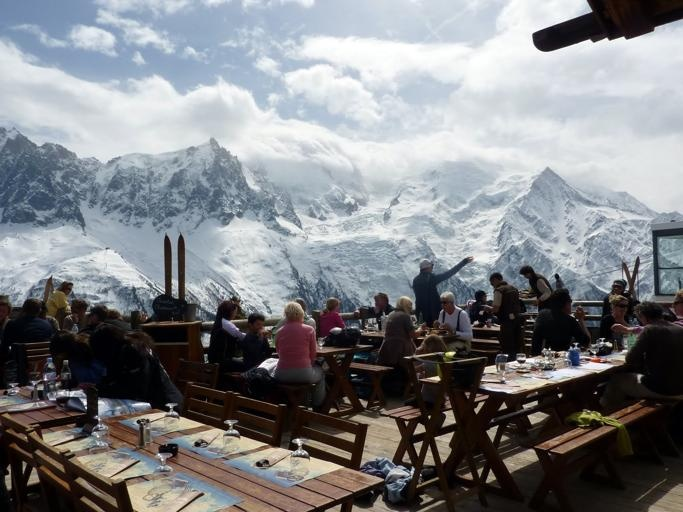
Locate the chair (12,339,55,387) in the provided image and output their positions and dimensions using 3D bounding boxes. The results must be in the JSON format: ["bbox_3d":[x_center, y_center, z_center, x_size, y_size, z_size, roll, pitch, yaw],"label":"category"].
[{"bbox_3d":[-4.201,1.404,6.317,0.332,0.449,0.324,-4,-1,29],"label":"chair"}]

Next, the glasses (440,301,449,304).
[{"bbox_3d":[1.694,0.738,7.802,0.065,0.043,0.230,-3,-1,-4],"label":"glasses"}]

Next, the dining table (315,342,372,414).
[{"bbox_3d":[-0.036,1.985,7.452,0.821,0.886,1.404,2,-18,-4],"label":"dining table"}]

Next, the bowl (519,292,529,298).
[{"bbox_3d":[3.791,0.794,9.842,0.171,0.055,0.171,-9,2,0],"label":"bowl"}]

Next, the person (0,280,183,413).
[{"bbox_3d":[-3.282,1.089,5.705,3.380,1.144,1.037,-4,-2,28],"label":"person"}]

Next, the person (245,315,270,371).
[{"bbox_3d":[-1.223,1.202,6.853,0.403,0.790,0.334,-3,-2,-10],"label":"person"}]

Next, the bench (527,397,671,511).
[{"bbox_3d":[2.443,1.815,4.501,2.425,0.825,0.498,-2,-2,-41],"label":"bench"}]

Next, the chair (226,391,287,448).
[{"bbox_3d":[-0.704,1.252,3.699,0.300,0.480,0.321,-6,-34,33],"label":"chair"}]

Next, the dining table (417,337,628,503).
[{"bbox_3d":[1.628,1.964,4.792,0.872,0.795,1.676,4,-24,43],"label":"dining table"}]

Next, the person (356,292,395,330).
[{"bbox_3d":[0.799,1.126,9.986,0.645,0.682,0.772,11,1,14],"label":"person"}]

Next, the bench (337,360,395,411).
[{"bbox_3d":[0.321,2.072,7.607,0.566,0.513,1.075,8,-15,-24],"label":"bench"}]

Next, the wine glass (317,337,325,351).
[{"bbox_3d":[-0.310,1.367,7.444,0.117,0.166,0.114,-2,3,-43],"label":"wine glass"}]

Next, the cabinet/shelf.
[{"bbox_3d":[-2.784,1.512,7.860,0.835,0.776,0.626,0,-3,5],"label":"cabinet/shelf"}]

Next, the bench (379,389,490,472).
[{"bbox_3d":[1.102,1.876,4.746,1.092,0.444,0.328,29,-40,-15],"label":"bench"}]

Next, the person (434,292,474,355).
[{"bbox_3d":[1.778,1.167,7.917,0.765,1.029,0.718,7,-9,-15],"label":"person"}]

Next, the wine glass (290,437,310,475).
[{"bbox_3d":[-0.251,1.221,2.917,0.128,0.193,0.122,-1,-13,21],"label":"wine glass"}]

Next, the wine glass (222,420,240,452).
[{"bbox_3d":[-0.759,1.237,3.289,0.121,0.183,0.114,-11,-19,20],"label":"wine glass"}]

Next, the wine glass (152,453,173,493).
[{"bbox_3d":[-1.047,1.203,2.804,0.089,0.157,0.456,-2,-2,-21],"label":"wine glass"}]

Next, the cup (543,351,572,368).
[{"bbox_3d":[2.547,1.202,5.574,0.222,0.094,0.299,0,-3,34],"label":"cup"}]
